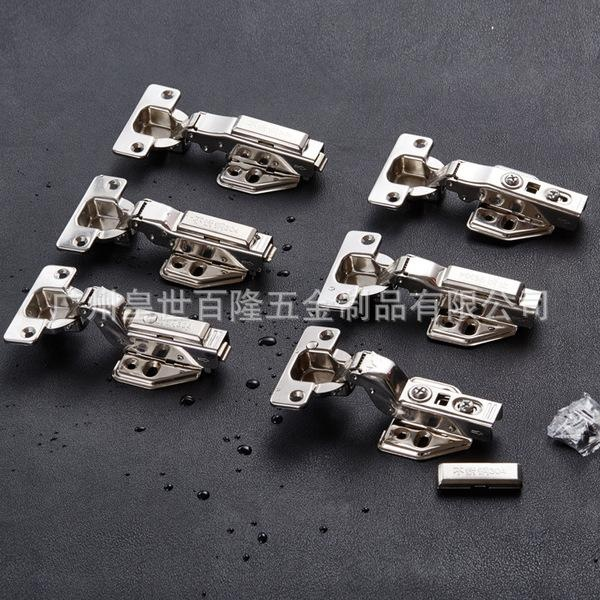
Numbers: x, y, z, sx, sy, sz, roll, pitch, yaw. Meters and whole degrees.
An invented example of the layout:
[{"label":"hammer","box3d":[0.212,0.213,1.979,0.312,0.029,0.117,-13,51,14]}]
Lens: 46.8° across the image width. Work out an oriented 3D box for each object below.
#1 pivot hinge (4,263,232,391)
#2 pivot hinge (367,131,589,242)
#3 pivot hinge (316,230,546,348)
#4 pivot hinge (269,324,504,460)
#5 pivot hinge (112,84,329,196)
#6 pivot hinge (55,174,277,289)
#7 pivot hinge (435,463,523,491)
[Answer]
[{"label":"pivot hinge","box3d":[-0.448,0.088,1.669,0.550,0.150,0.250,12,48,11]},{"label":"pivot hinge","box3d":[0.439,-0.289,1.921,0.590,0.147,0.263,12,56,11]},{"label":"pivot hinge","box3d":[0.299,-0.013,1.711,0.530,0.130,0.261,10,51,17]},{"label":"pivot hinge","box3d":[0.160,0.209,1.499,0.488,0.125,0.227,12,48,19]},{"label":"pivot hinge","box3d":[-0.241,-0.462,2.073,0.623,0.130,0.314,11,47,11]},{"label":"pivot hinge","box3d":[-0.338,-0.161,1.851,0.588,0.115,0.270,11,46,10]},{"label":"pivot hinge","box3d":[0.359,0.354,1.389,0.164,0.045,0.044,-1,44,3]}]
